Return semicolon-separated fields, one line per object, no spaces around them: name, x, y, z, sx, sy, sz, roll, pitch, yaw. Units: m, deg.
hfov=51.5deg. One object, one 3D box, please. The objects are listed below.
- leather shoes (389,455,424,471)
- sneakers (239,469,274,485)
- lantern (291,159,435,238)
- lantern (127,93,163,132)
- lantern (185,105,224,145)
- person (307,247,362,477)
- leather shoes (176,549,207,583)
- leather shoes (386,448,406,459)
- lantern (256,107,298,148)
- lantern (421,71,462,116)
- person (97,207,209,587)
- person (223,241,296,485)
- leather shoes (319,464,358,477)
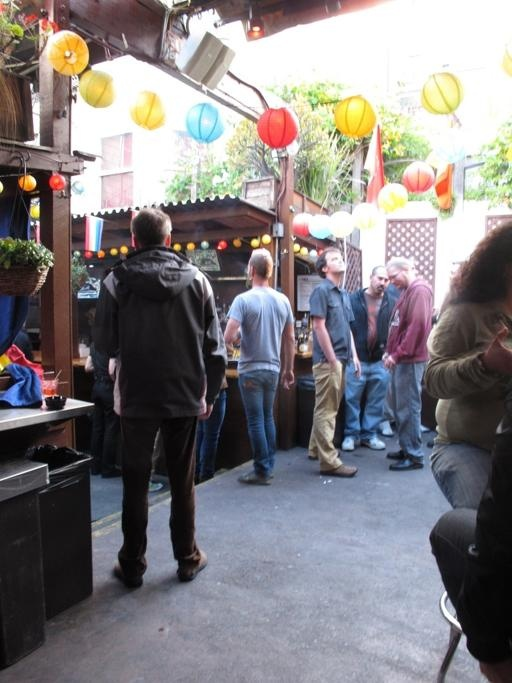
leather shoes;1.363;1.123;4.880;0.339;0.167;0.133;6;-8;-11
sneakers;0.006;1.139;4.441;0.276;0.139;0.108;6;-5;10
lantern;1.307;-1.728;6.433;1.652;0.912;0.604;0;2;-2
lantern;-0.839;-1.720;4.094;0.222;0.287;0.224;5;-17;-13
lantern;-0.440;-1.915;4.752;0.267;0.362;0.292;5;-1;16
person;0.717;0.142;4.820;0.460;2.029;0.673;0;2;7
leather shoes;-0.335;1.183;2.803;0.064;0.123;0.182;0;8;15
leather shoes;1.351;1.092;5.149;0.199;0.098;0.072;2;-2;27
lantern;0.151;-1.750;4.361;0.290;0.388;0.291;-8;18;-32
lantern;1.418;-1.873;4.136;0.278;0.351;0.309;-3;-30;7
person;-0.459;0.284;2.648;0.650;1.895;0.309;-1;2;-20
person;0.046;0.202;4.440;0.439;1.938;0.822;1;2;22
leather shoes;0.722;1.111;4.624;0.304;0.150;0.121;-3;-4;3
